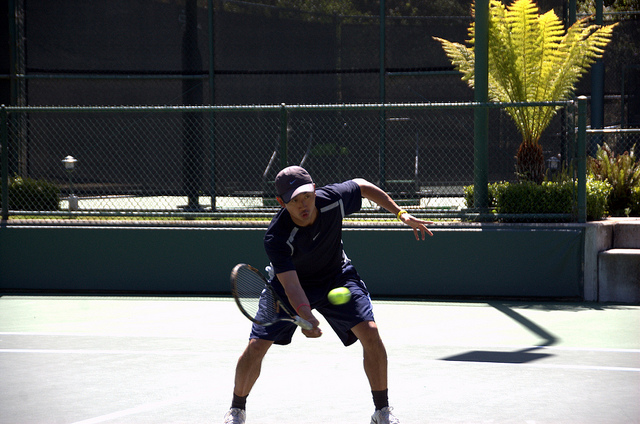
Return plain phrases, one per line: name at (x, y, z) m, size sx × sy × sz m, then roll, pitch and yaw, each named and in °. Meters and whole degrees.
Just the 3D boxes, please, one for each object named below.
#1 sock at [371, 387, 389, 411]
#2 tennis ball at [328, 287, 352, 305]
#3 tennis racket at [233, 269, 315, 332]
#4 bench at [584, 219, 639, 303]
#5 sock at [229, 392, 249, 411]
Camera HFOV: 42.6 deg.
sock at (0.747, 2.295, 10.098) m, size 0.207 × 0.343 × 0.212 m, roll -1°, pitch -13°, yaw -1°
tennis ball at (0.248, 1.054, 10.323) m, size 0.222 × 0.198 × 0.176 m, roll -20°, pitch 41°, yaw -8°
tennis racket at (-0.595, 1.250, 10.244) m, size 0.502 × 1.246 × 0.078 m, roll -41°, pitch -9°, yaw -42°
bench at (5.069, 0.874, 14.249) m, size 1.173 × 0.925 × 1.207 m, roll -1°, pitch 7°, yaw 17°
sock at (-1.009, 2.338, 10.263) m, size 0.167 × 0.281 × 0.201 m, roll 2°, pitch 2°, yaw -1°
